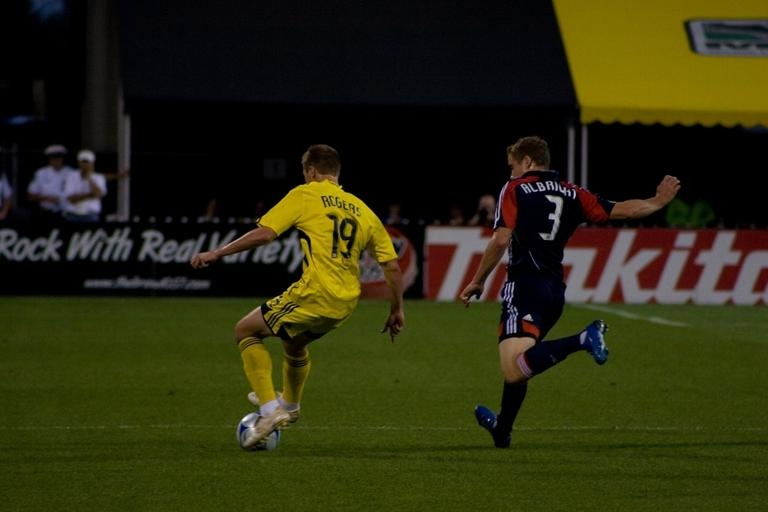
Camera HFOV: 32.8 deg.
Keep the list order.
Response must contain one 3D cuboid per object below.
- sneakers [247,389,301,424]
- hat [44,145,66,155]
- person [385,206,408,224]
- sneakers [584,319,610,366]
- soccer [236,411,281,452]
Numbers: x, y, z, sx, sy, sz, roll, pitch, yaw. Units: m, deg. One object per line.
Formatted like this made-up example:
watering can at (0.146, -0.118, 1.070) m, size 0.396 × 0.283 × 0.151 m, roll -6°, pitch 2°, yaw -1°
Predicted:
sneakers at (-1.407, 1.942, 16.916) m, size 0.233 × 0.293 × 0.693 m, roll -10°, pitch 38°, yaw -47°
hat at (-6.294, -2.011, 25.092) m, size 0.510 × 0.181 × 0.540 m, roll -1°, pitch 0°, yaw -9°
person at (0.230, -0.903, 29.128) m, size 0.515 × 0.240 × 0.733 m, roll 0°, pitch -1°, yaw 0°
sneakers at (2.667, 1.055, 16.509) m, size 0.241 × 0.612 × 0.286 m, roll -6°, pitch 8°, yaw 1°
soccer at (-1.613, 2.315, 16.841) m, size 0.509 × 0.506 × 0.484 m, roll -6°, pitch -22°, yaw 0°
